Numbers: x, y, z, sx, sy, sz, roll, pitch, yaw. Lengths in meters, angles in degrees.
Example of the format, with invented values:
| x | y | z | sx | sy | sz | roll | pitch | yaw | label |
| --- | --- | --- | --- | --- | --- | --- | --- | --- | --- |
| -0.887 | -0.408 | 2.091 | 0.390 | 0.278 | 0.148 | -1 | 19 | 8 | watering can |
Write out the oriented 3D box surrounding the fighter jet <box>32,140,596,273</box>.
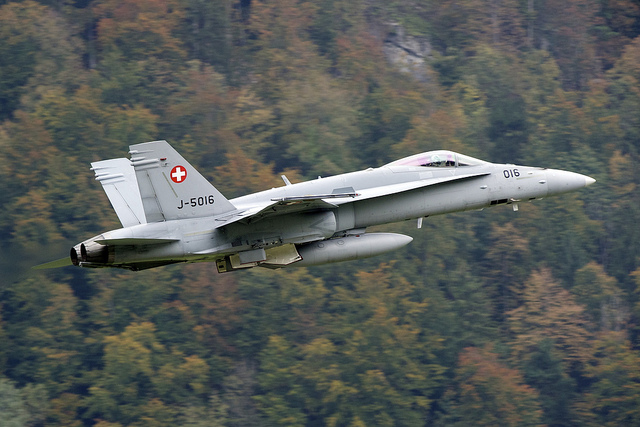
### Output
| x | y | z | sx | sy | sz | roll | pitch | yaw | label |
| --- | --- | --- | --- | --- | --- | --- | --- | --- | --- |
| -0.902 | -0.039 | 57.248 | 24.482 | 6.669 | 4.765 | -2 | 41 | -11 | fighter jet |
